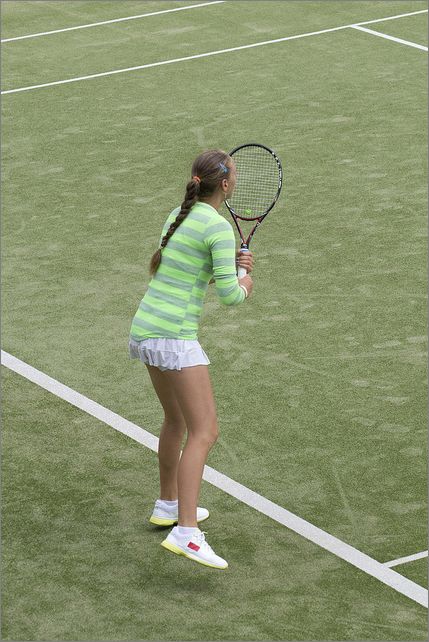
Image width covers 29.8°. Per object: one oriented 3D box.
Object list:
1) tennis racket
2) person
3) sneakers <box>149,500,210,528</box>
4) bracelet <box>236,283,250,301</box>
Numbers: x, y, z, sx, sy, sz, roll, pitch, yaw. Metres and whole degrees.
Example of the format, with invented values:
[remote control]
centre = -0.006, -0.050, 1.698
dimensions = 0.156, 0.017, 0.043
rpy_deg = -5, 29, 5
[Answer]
[tennis racket]
centre = 0.271, -0.912, 5.837
dimensions = 0.432, 0.107, 1.361
rpy_deg = 2, 46, 4
[person]
centre = -0.095, 0.171, 3.002
dimensions = 0.445, 1.578, 0.700
rpy_deg = 5, 19, -10
[sneakers]
centre = -0.133, 0.803, 3.372
dimensions = 0.294, 0.112, 0.094
rpy_deg = 0, 2, -17
[bracelet]
centre = 0.111, -0.113, 3.018
dimensions = 0.043, 0.051, 0.021
rpy_deg = -7, 16, 41
